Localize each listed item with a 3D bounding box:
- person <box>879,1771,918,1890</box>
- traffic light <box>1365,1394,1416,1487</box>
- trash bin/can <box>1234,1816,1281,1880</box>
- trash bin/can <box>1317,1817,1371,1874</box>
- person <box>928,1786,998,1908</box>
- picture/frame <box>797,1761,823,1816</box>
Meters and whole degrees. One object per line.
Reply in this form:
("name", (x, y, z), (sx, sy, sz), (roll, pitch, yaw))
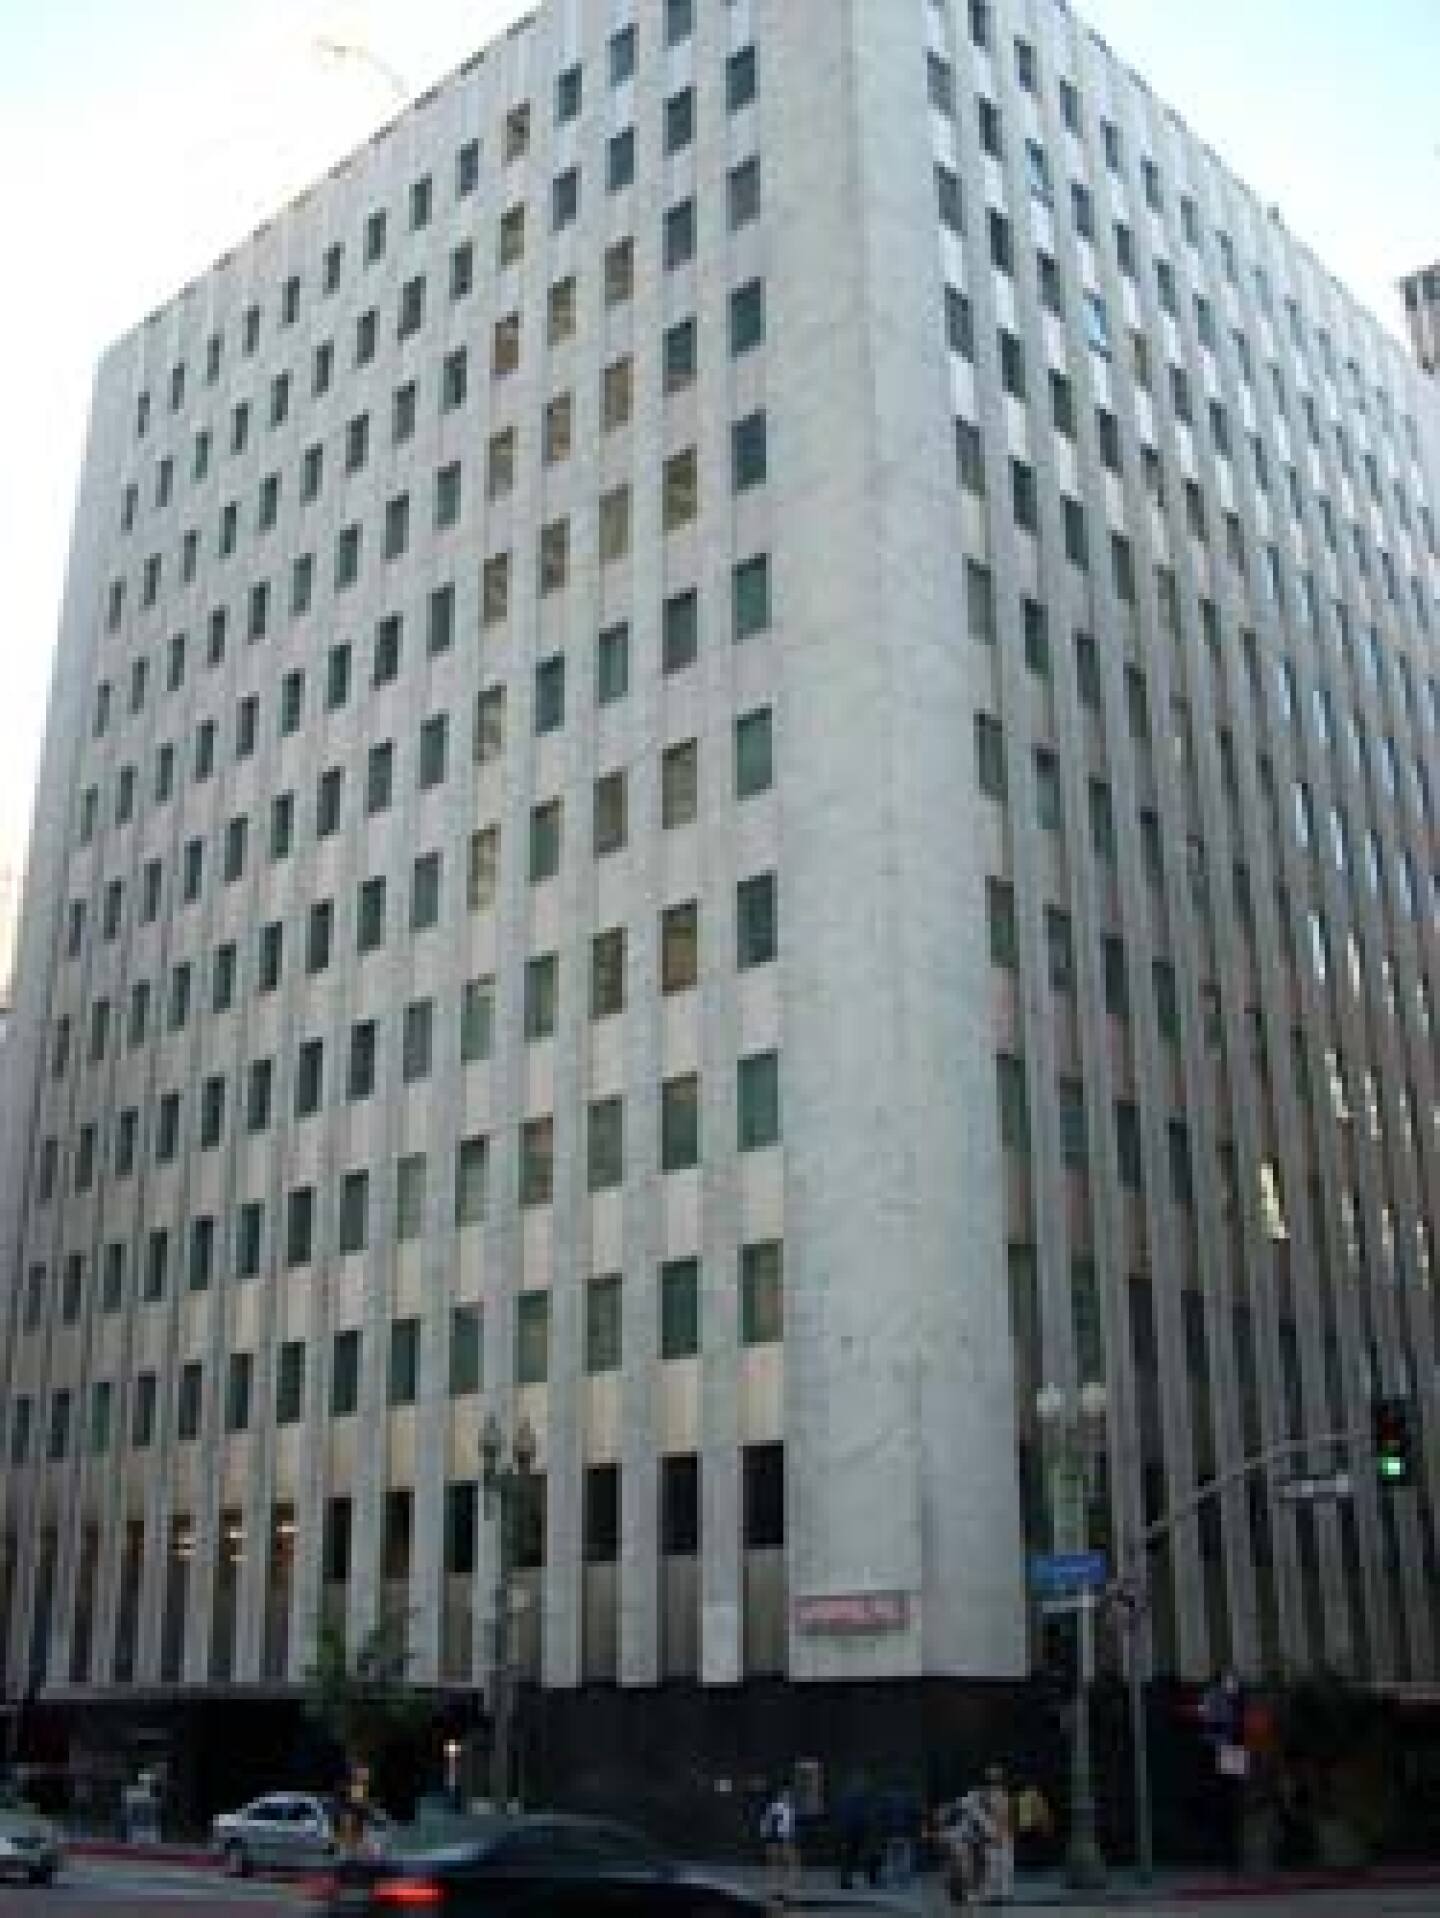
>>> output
("person", (2.283, 11.140, 22.300), (0.450, 1.208, 1.037), (-4, -23, 4))
("traffic light", (8.254, 5.929, 21.633), (0.437, 1.059, 1.446), (-10, -24, 17))
("trash bin/can", (7.908, 13.083, 25.887), (0.483, 0.722, 0.864), (-7, -23, 10))
("trash bin/can", (10.252, 14.677, 29.120), (0.733, 0.751, 1.058), (-10, -24, 15))
("person", (2.768, 10.154, 20.005), (0.624, 1.161, 1.879), (-5, -23, 4))
("picture/frame", (1.330, 12.223, 25.963), (0.397, 0.852, 0.651), (0, -28, 2))
